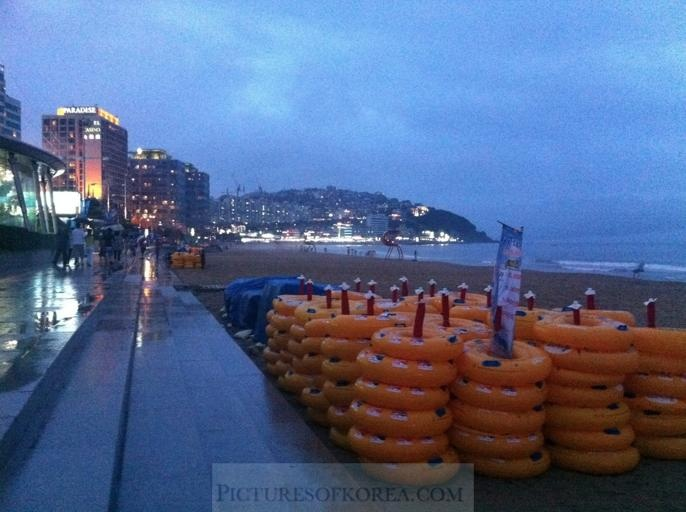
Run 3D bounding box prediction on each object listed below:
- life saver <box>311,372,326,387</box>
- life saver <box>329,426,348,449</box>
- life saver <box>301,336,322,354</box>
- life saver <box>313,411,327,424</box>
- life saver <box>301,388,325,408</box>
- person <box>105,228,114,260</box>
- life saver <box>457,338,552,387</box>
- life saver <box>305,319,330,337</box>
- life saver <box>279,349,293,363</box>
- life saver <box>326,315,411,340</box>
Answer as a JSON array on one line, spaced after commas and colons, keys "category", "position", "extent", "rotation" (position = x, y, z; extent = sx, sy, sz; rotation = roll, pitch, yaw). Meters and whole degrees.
[{"category": "life saver", "position": [-0.337, 1.710, 6.845], "extent": [0.207, 0.054, 0.209], "rotation": [-1, 4, 44]}, {"category": "life saver", "position": [-0.055, 2.264, 6.268], "extent": [0.227, 0.072, 0.217], "rotation": [7, 2, -12]}, {"category": "life saver", "position": [-0.433, 1.222, 6.773], "extent": [0.244, 0.089, 0.239], "rotation": [3, 8, 10]}, {"category": "life saver", "position": [-0.319, 2.206, 6.809], "extent": [0.175, 0.048, 0.171], "rotation": [5, 1, 11]}, {"category": "life saver", "position": [-0.401, 1.931, 6.761], "extent": [0.291, 0.103, 0.286], "rotation": [2, 2, -3]}, {"category": "person", "position": [-12.843, -0.497, 26.925], "extent": [0.437, 1.521, 1.287], "rotation": [6, 6, -28]}, {"category": "life saver", "position": [1.818, 1.234, 5.506], "extent": [0.611, 0.184, 0.601], "rotation": [0, 8, 9]}, {"category": "life saver", "position": [-0.335, 0.987, 6.686], "extent": [0.247, 0.131, 0.324], "rotation": [1, 7, 0]}, {"category": "life saver", "position": [-0.912, 1.599, 7.854], "extent": [0.233, 0.087, 0.232], "rotation": [7, 9, 35]}, {"category": "life saver", "position": [0.252, 0.906, 6.382], "extent": [0.803, 0.190, 0.403], "rotation": [0, 5, -5]}]
